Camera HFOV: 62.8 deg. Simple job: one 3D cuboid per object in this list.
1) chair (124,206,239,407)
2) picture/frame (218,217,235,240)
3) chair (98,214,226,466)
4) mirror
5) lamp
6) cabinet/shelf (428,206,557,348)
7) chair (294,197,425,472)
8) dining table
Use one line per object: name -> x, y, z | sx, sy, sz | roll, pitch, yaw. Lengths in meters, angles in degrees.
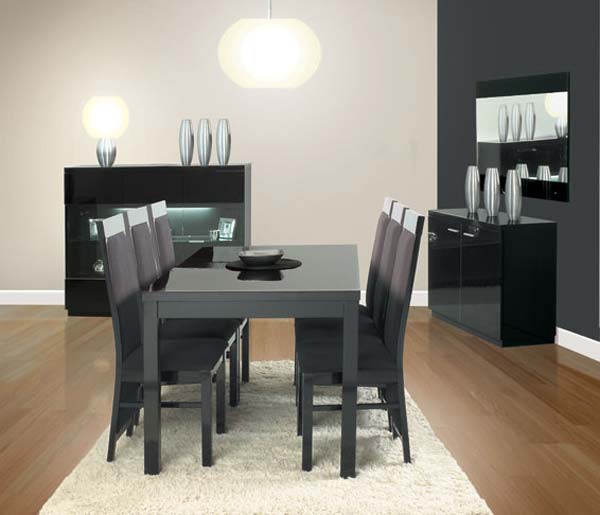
chair -> -0.647, 0.249, 2.481 | 0.384, 0.946, 1.047 | 0, 16, -8
picture/frame -> -0.681, -0.281, 4.589 | 0.151, 0.366, 0.172 | 1, 6, -8
chair -> -0.605, 0.338, 2.228 | 0.449, 1.081, 0.556 | -3, 2, 5
mirror -> 1.791, -0.959, 3.890 | 0.047, 1.189, 1.013 | -3, 5, -22
lamp -> -0.243, -1.847, 4.186 | 0.712, 0.886, 0.729 | 18, 39, 24
cabinet/shelf -> 1.474, 0.130, 4.078 | 0.380, 0.946, 1.126 | -5, 5, -11
chair -> 0.309, 0.378, 2.469 | 0.453, 1.180, 1.298 | 1, 2, 3
dining table -> -0.170, 0.422, 2.332 | 0.875, 0.791, 0.984 | 0, 7, 6
